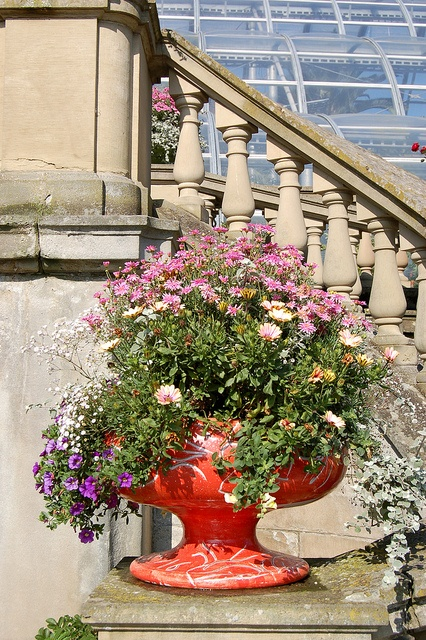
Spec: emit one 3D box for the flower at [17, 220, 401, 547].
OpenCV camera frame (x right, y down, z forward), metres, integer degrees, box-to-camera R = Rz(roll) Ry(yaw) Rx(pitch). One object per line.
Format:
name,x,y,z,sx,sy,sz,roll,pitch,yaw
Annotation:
flower,0.020,0.143,2.402,1.020,0.878,0.853,0,2,-3
